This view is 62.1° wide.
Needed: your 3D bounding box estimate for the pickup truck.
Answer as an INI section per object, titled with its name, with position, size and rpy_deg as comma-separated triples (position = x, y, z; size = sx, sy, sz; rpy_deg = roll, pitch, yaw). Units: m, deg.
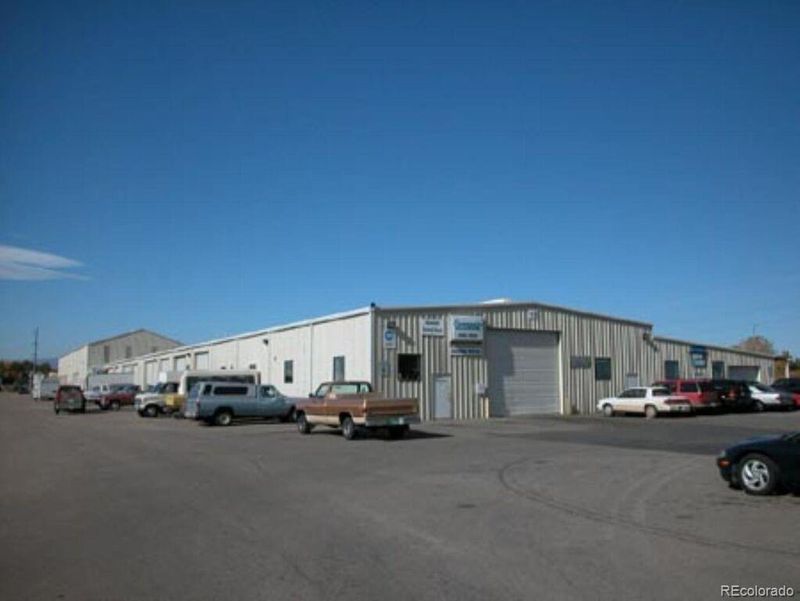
[pickup truck]
position = -1.624, 3.523, 22.022
size = 1.886, 1.443, 3.690
rpy_deg = 5, -8, -34
